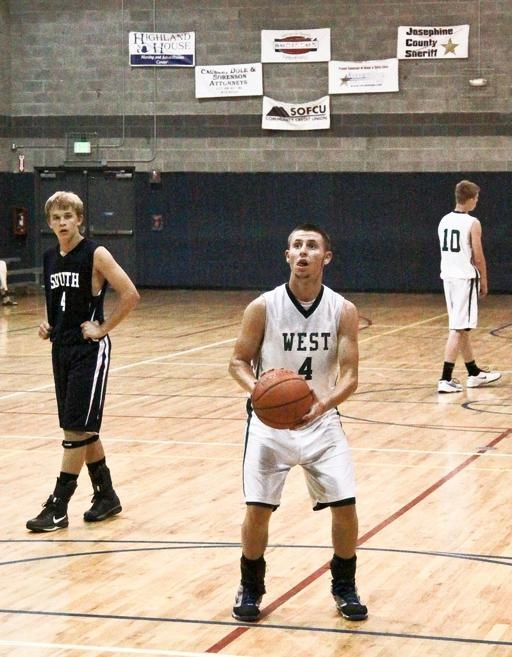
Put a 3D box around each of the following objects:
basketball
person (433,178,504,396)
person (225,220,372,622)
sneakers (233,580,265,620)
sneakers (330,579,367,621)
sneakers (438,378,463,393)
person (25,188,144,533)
[{"bbox_3d":[0.067,0.193,1.940,0.166,0.156,0.125,1,2,18],"label":"basketball"},{"bbox_3d":[2.037,-0.386,6.919,0.571,1.989,0.698,1,2,16],"label":"person"},{"bbox_3d":[0.127,0.280,2.158,0.411,1.172,0.513,0,2,-2],"label":"person"},{"bbox_3d":[-0.025,0.807,2.138,0.090,0.100,0.162,0,2,0],"label":"sneakers"},{"bbox_3d":[0.271,0.803,2.099,0.051,0.058,0.139,-3,-5,-6],"label":"sneakers"},{"bbox_3d":[1.828,0.544,6.840,0.262,0.114,0.097,-3,6,-39],"label":"sneakers"},{"bbox_3d":[-0.780,0.134,3.274,0.487,1.530,0.408,0,2,-9],"label":"person"}]
